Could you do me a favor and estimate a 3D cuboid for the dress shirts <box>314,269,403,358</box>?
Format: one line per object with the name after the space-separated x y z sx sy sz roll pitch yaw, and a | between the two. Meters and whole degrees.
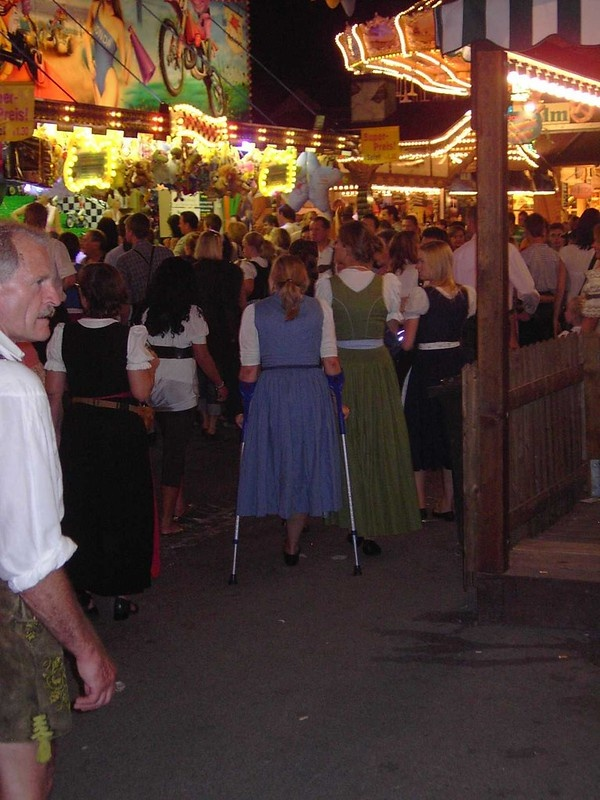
0.403 -0.582 4.611 0.636 0.604 0.355 -3 7 0 | dress shirts

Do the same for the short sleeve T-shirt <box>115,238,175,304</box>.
-1.578 -1.309 7.026 0.839 0.678 0.414 -7 25 -7 | short sleeve T-shirt

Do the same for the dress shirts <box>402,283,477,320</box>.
1.011 -0.676 4.808 0.441 0.167 0.167 -5 32 -13 | dress shirts

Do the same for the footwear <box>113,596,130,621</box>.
-0.981 1.137 3.699 0.080 0.124 0.123 -3 2 15 | footwear

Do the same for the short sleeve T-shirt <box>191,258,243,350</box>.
-0.969 -1.107 7.858 0.760 0.974 0.397 3 13 14 | short sleeve T-shirt

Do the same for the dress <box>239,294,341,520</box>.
-0.063 0.070 4.357 0.714 1.336 0.416 -2 6 -7 | dress

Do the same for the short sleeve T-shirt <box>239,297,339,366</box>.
-0.076 -0.539 4.389 0.772 0.533 0.394 -2 11 2 | short sleeve T-shirt

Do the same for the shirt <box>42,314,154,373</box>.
-1.071 -0.310 3.567 0.568 0.355 0.289 2 53 -17 | shirt
